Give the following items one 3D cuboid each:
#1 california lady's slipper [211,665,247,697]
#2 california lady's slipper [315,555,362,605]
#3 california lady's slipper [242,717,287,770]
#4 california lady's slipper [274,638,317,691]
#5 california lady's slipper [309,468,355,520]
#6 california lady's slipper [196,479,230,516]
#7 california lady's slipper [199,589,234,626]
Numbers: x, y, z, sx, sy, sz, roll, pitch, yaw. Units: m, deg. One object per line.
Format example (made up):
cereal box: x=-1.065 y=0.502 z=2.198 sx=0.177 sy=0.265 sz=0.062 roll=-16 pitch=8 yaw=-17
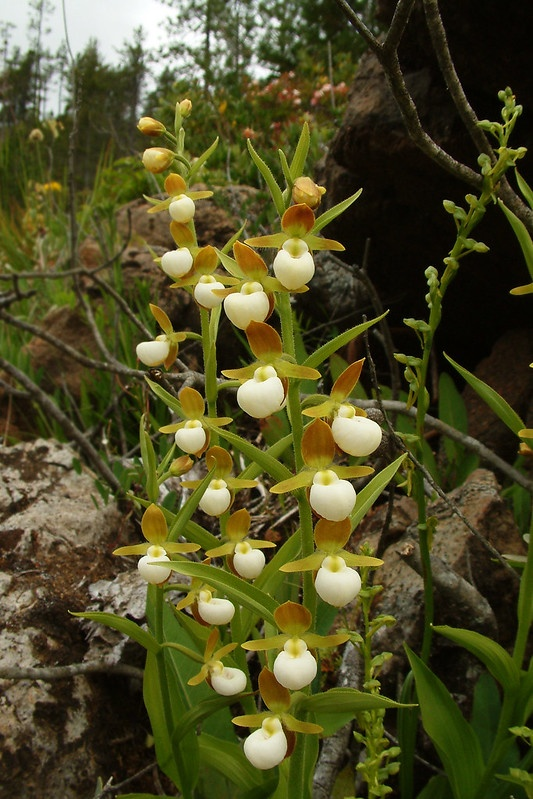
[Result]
california lady's slipper: x=-0.074 y=0.544 z=1.338 sx=0.060 sy=0.045 sz=0.045 roll=-3 pitch=10 yaw=-14
california lady's slipper: x=0.116 y=0.298 z=1.139 sx=0.079 sy=0.082 sz=0.098 roll=-5 pitch=11 yaw=1
california lady's slipper: x=0.003 y=0.573 z=1.159 sx=0.076 sy=0.040 sz=0.091 roll=-1 pitch=23 yaw=13
california lady's slipper: x=0.047 y=0.432 z=1.136 sx=0.077 sy=0.042 sz=0.093 roll=5 pitch=30 yaw=7
california lady's slipper: x=0.104 y=0.161 z=1.105 sx=0.069 sy=0.084 sz=0.059 roll=0 pitch=10 yaw=1
california lady's slipper: x=-0.096 y=0.191 z=1.362 sx=0.074 sy=0.078 sz=0.068 roll=4 pitch=-3 yaw=-1
california lady's slipper: x=-0.108 y=0.418 z=1.385 sx=0.062 sy=0.031 sz=0.075 roll=-4 pitch=30 yaw=-40
